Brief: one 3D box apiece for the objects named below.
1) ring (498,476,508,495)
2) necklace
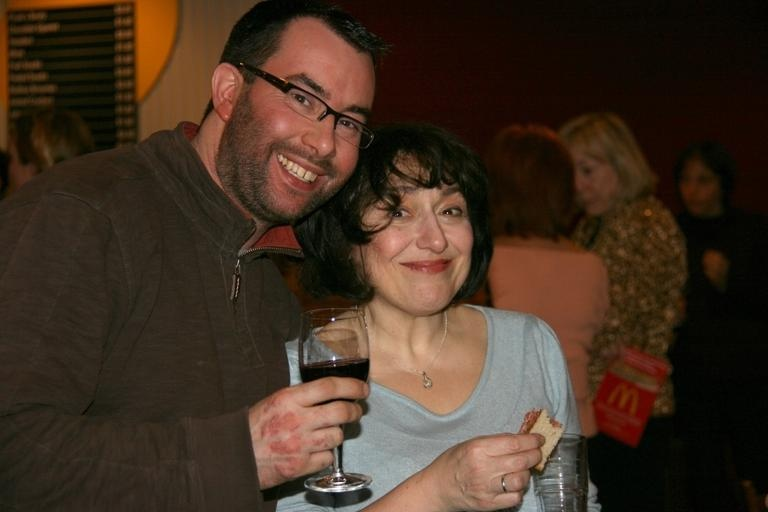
[{"bbox_3d":[0.436,0.828,2.767,0.032,0.064,0.013,1,9,-21],"label":"ring"},{"bbox_3d":[0.189,0.425,3.380,0.320,0.305,0.073,-12,-5,-14],"label":"necklace"}]
